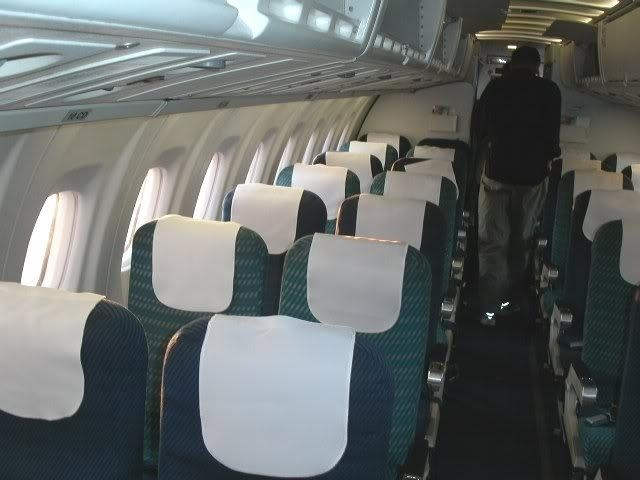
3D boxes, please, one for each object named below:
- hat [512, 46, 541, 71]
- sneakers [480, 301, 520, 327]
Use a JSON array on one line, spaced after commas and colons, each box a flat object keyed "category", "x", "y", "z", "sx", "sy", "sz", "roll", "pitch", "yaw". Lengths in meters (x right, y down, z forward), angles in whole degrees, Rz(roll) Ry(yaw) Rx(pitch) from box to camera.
[{"category": "hat", "x": 2.457, "y": -2.145, "z": 6.088, "sx": 0.245, "sy": 0.323, "sz": 0.339, "roll": 7, "pitch": 30, "yaw": 9}, {"category": "sneakers", "x": 2.114, "y": 0.873, "z": 5.971, "sx": 0.266, "sy": 0.159, "sz": 0.390, "roll": 28, "pitch": 26, "yaw": 24}]
